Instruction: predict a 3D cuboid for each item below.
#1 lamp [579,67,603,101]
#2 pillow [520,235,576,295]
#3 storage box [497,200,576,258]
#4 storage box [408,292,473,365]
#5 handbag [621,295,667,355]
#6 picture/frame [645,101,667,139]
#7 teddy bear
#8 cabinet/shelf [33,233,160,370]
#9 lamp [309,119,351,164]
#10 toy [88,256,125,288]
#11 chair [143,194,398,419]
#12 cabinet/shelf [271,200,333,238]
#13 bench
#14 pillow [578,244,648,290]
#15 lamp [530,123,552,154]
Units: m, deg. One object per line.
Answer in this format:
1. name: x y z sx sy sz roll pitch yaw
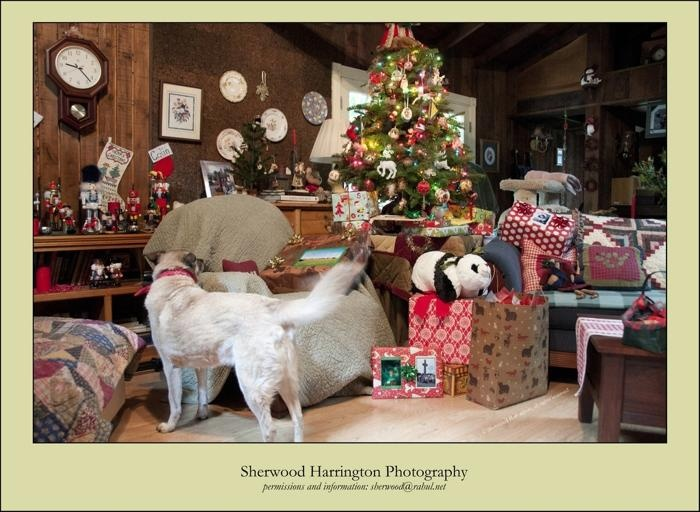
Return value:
1. lamp: 3.079 -2.297 6.999 0.170 0.357 0.535 0 3 18
2. pillow: 1.210 0.061 3.365 0.363 0.363 0.118 7 -20 12
3. storage box: 1.220 -0.205 3.873 0.453 0.402 0.796 18 7 -3
4. storage box: 0.569 0.434 3.254 0.420 0.413 0.297 -3 -10 32
5. handbag: 1.249 0.291 2.317 0.210 0.162 0.208 6 17 35
6. picture/frame: 3.903 -1.746 6.834 0.195 0.414 0.199 -7 10 -37
7. teddy bear: 0.574 0.114 3.131 0.382 0.189 0.275 -1 2 33
8. cabinet/shelf: -1.486 0.248 3.083 0.825 0.763 0.236 -5 7 -41
9. lamp: -0.129 -0.999 4.652 0.466 0.330 0.439 3 7 22
10. toy: -1.656 0.111 3.597 0.061 0.179 0.187 -32 -28 36
11. chair: -0.575 0.164 3.186 1.124 1.112 1.308 -4 0 -34
12. cabinet/shelf: -0.462 -0.285 4.757 0.221 0.346 0.370 -2 5 -33
13. bench: -1.105 0.502 2.293 0.502 0.127 0.506 5 46 -16
14. pillow: 1.691 0.071 3.448 0.386 0.266 0.252 1 8 18
15. lamp: 3.053 -1.873 8.601 0.325 0.357 0.407 0 7 -2
